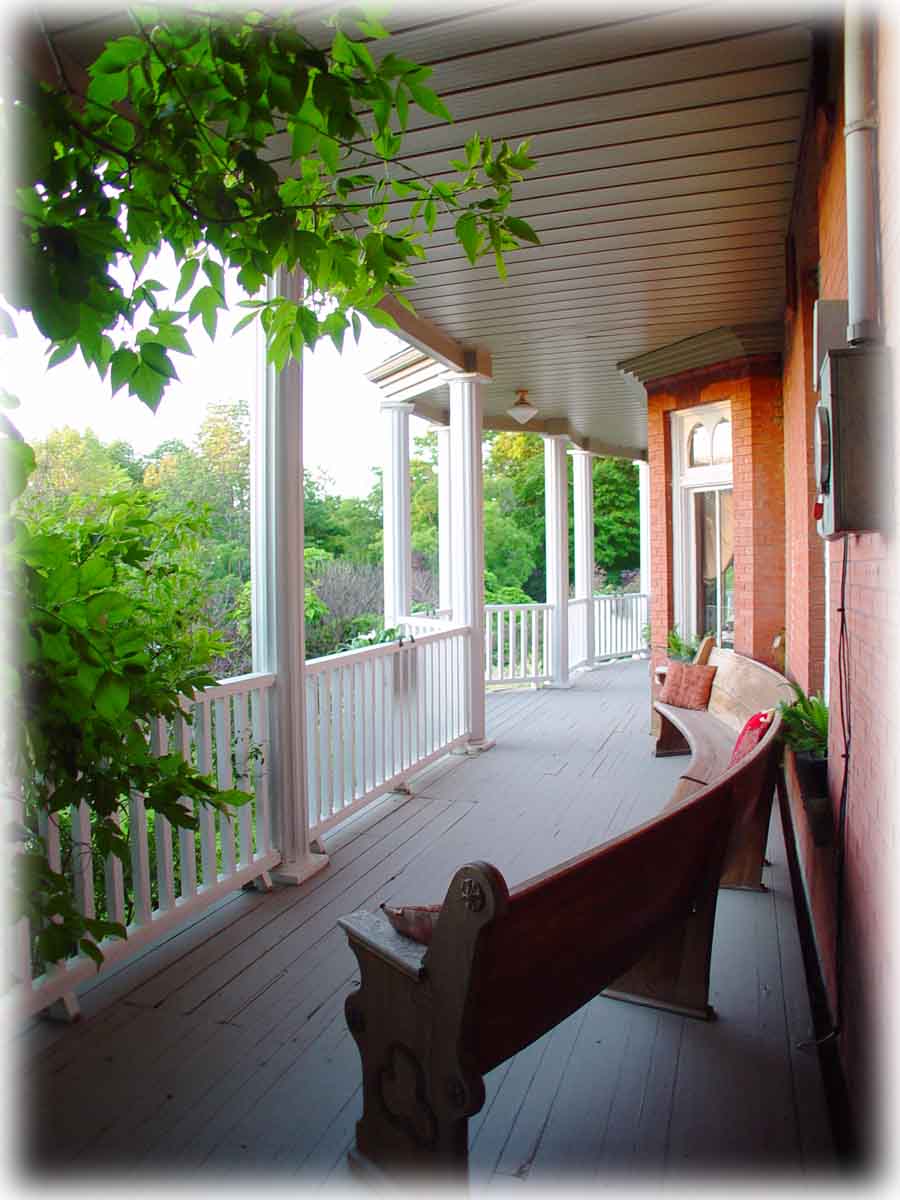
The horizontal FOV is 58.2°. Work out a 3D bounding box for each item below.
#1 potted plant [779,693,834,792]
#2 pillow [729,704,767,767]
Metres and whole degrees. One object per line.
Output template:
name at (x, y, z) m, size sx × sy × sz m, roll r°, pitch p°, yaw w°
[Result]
potted plant at (1.327, 0.539, 3.025) m, size 0.129 × 0.265 × 0.276 m, roll 12°, pitch 32°, yaw -6°
pillow at (1.268, 0.570, 3.432) m, size 0.056 × 0.237 × 0.248 m, roll 31°, pitch -13°, yaw 14°
